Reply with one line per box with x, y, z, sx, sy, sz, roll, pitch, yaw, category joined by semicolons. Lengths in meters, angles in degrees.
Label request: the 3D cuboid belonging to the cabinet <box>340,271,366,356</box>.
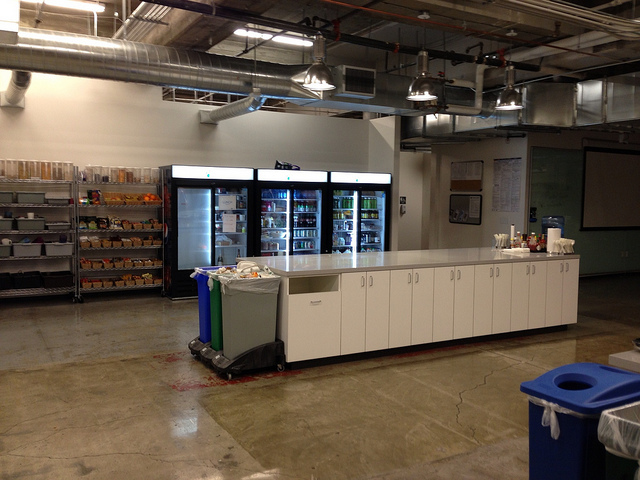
0.414;0.941;6.308;0.305;1.041;0.353;1;6;-27;cabinet

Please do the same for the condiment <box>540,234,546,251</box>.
3.725;0.050;8.098;0.099;0.235;0.193;5;10;25;condiment

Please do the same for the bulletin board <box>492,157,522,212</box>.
4.505;-1.340;11.699;0.016;1.332;0.766;-10;13;-37;bulletin board

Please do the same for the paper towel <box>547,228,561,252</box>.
3.867;0.003;8.047;0.166;0.374;0.232;5;10;21;paper towel

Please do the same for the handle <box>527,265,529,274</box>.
3.209;0.459;7.474;0.025;0.117;0.015;-5;11;-31;handle

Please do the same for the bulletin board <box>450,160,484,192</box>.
3.867;-1.647;12.778;0.104;0.800;1.124;-3;8;-28;bulletin board

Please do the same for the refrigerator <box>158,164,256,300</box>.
-2.426;-0.017;9.997;1.887;2.884;0.727;2;4;-26;refrigerator

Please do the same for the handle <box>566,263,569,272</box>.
4.000;0.440;7.841;0.057;0.144;0.021;-5;11;-34;handle

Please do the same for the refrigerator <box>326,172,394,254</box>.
0.900;-0.657;11.429;1.776;1.862;0.583;-3;10;-26;refrigerator

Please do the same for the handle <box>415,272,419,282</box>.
1.341;0.537;6.712;0.020;0.150;0.028;-1;1;-8;handle

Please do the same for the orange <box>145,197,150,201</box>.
-3.519;-0.849;9.901;0.075;0.056;0.057;-13;18;-30;orange

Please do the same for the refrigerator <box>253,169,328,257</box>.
-0.682;-0.593;10.696;1.732;1.918;0.553;-3;10;-24;refrigerator

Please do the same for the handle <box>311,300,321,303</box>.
-0.047;0.761;6.029;0.128;0.024;0.005;-2;10;-23;handle

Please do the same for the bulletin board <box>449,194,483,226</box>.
3.816;-0.826;12.767;0.088;0.777;1.094;-5;8;-30;bulletin board

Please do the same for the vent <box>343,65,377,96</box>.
0.594;-2.792;8.569;0.701;0.466;0.370;-5;11;-32;vent

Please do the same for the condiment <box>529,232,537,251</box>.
3.565;0.036;8.104;0.120;0.251;0.258;5;9;23;condiment

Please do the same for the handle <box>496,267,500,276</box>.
2.653;0.466;7.212;0.035;0.123;0.018;-6;12;-36;handle

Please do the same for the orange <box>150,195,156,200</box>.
-3.418;-0.879;9.964;0.083;0.080;0.095;24;8;8;orange

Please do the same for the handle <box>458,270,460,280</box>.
1.978;0.491;6.911;0.029;0.134;0.020;-5;11;-33;handle
